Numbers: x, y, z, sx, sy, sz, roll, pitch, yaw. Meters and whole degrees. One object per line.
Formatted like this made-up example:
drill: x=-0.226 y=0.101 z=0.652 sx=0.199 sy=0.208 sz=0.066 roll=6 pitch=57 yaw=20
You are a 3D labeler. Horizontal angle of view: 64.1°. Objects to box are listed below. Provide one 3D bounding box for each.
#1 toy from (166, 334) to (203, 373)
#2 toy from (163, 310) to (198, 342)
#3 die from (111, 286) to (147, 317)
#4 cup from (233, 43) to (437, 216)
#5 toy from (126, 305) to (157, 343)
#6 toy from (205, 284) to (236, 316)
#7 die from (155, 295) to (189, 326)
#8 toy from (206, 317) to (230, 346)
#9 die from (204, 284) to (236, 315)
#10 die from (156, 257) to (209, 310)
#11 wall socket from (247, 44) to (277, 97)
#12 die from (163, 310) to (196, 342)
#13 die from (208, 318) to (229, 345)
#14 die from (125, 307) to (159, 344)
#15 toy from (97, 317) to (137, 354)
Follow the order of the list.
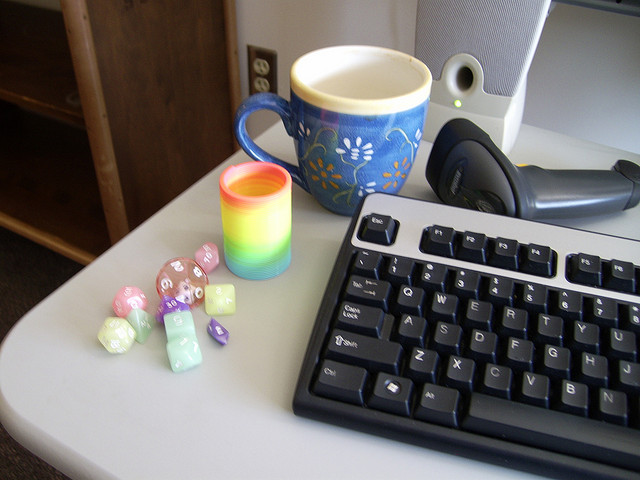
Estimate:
toy: x=-0.123 y=0.100 z=0.466 sx=0.029 sy=0.018 sz=0.032 roll=-13 pitch=54 yaw=-15
toy: x=-0.132 y=0.078 z=0.476 sx=0.024 sy=0.027 sz=0.028 roll=-2 pitch=44 yaw=-13
die: x=-0.184 y=0.058 z=0.491 sx=0.022 sy=0.032 sz=0.023 roll=3 pitch=53 yaw=-4
cup: x=0.011 y=-0.126 z=0.626 sx=0.216 sy=0.168 sz=0.173 roll=6 pitch=33 yaw=10
toy: x=-0.166 y=0.077 z=0.477 sx=0.024 sy=0.029 sz=0.030 roll=-15 pitch=41 yaw=13
toy: x=-0.099 y=0.056 z=0.508 sx=0.029 sy=0.021 sz=0.034 roll=-4 pitch=52 yaw=-8
die: x=-0.141 y=0.062 z=0.498 sx=0.026 sy=0.028 sz=0.026 roll=33 pitch=29 yaw=16
toy: x=-0.096 y=0.086 z=0.484 sx=0.014 sy=0.008 sz=0.025 roll=-42 pitch=66 yaw=-5
die: x=-0.098 y=0.059 z=0.500 sx=0.025 sy=0.018 sz=0.031 roll=2 pitch=91 yaw=-4
die: x=-0.138 y=0.038 z=0.514 sx=0.051 sy=0.046 sz=0.041 roll=-15 pitch=39 yaw=-25
wall socket: x=-0.135 y=-0.370 z=1.180 sx=0.068 sy=0.015 sz=0.152 roll=4 pitch=73 yaw=-19
die: x=-0.131 y=0.077 z=0.477 sx=0.024 sy=0.024 sz=0.027 roll=-12 pitch=52 yaw=-18
die: x=-0.097 y=0.086 z=0.484 sx=0.024 sy=0.008 sz=0.013 roll=32 pitch=56 yaw=19
die: x=-0.166 y=0.076 z=0.480 sx=0.032 sy=0.026 sz=0.023 roll=-27 pitch=28 yaw=-22
toy: x=-0.188 y=0.087 z=0.469 sx=0.034 sy=0.023 sz=0.027 roll=17 pitch=52 yaw=9
